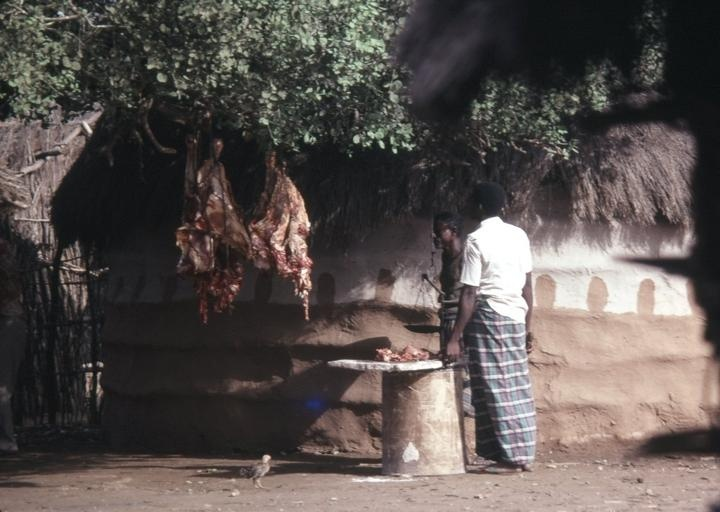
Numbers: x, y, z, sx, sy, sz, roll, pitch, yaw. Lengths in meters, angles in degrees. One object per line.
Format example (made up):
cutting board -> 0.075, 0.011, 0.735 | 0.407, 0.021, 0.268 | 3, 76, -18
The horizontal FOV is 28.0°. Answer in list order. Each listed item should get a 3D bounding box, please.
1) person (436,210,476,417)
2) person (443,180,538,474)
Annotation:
person -> 0.908, 0.510, 14.670 | 0.455, 1.788, 0.570 | 2, 4, 2
person -> 1.332, 0.696, 14.236 | 1.186, 2.803, 0.720 | -1, 3, -38
